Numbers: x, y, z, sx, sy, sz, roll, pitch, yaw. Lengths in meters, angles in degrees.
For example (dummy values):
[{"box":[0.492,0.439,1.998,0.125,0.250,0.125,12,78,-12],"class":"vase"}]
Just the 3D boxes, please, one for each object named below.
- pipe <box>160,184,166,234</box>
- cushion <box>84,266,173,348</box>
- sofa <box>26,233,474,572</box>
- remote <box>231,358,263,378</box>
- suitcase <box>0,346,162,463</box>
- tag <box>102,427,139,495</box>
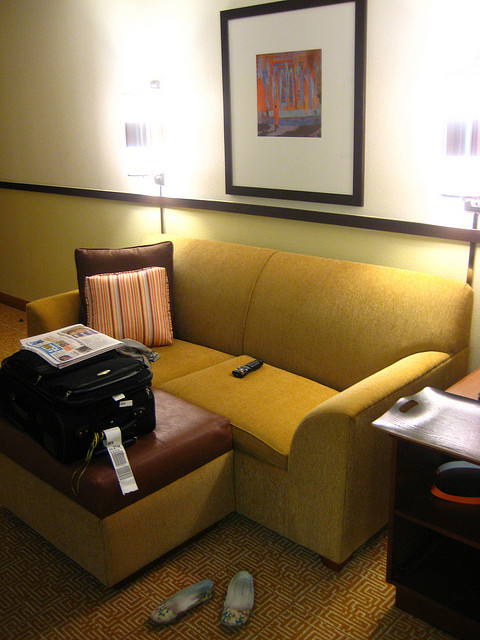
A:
[{"box":[-0.511,-0.682,3.095,0.027,0.220,0.107,-2,6,-10],"class":"pipe"},{"box":[-0.556,-0.040,2.408,0.391,0.437,0.157,-9,-10,-11],"class":"cushion"},{"box":[0.059,0.291,1.661,1.541,0.676,0.768,15,25,40],"class":"sofa"},{"box":[0.033,0.211,2.075,0.060,0.030,0.110,7,24,41],"class":"remote"},{"box":[-0.468,0.179,1.483,0.311,0.219,0.410,-15,27,-39],"class":"suitcase"},{"box":[-0.346,0.408,1.358,0.046,0.040,0.202,-8,50,-32],"class":"tag"}]
